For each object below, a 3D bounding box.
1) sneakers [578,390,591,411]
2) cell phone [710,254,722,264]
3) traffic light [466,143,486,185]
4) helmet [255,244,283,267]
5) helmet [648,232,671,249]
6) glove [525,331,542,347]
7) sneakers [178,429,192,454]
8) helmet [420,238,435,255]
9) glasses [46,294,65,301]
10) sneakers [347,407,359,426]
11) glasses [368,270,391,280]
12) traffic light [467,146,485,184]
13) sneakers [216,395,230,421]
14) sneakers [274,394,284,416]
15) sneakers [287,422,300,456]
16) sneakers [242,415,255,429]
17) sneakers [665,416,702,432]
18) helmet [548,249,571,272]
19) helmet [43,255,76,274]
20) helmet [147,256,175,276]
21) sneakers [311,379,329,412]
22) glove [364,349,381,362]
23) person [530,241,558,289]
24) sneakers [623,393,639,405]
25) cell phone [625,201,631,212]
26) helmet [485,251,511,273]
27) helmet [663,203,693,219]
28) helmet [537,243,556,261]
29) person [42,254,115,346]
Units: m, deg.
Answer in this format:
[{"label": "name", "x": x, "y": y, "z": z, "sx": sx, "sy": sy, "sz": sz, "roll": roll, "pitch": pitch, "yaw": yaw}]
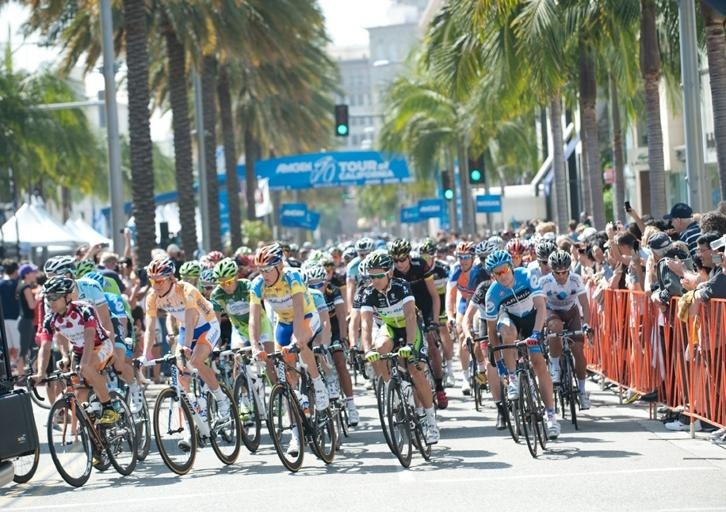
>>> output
[{"label": "sneakers", "x": 3.873, "y": 2.586, "z": 22.432, "sx": 0.150, "sy": 0.202, "sz": 0.480, "roll": -3, "pitch": -11, "yaw": 5}, {"label": "cell phone", "x": 5.536, "y": 0.055, "z": 20.002, "sx": 0.132, "sy": 0.147, "sz": 0.139, "roll": 0, "pitch": 6, "yaw": 19}, {"label": "traffic light", "x": 3.244, "y": -2.828, "z": 37.034, "sx": 0.517, "sy": 1.312, "sz": 0.678, "roll": 0, "pitch": 36, "yaw": 7}, {"label": "helmet", "x": -1.509, "y": 0.000, "z": 20.386, "sx": 0.440, "sy": 0.313, "sz": 0.369, "roll": -5, "pitch": 13, "yaw": -6}, {"label": "helmet", "x": 4.884, "y": -0.258, "z": 21.325, "sx": 0.312, "sy": 0.266, "sz": 0.544, "roll": 1, "pitch": 2, "yaw": 0}, {"label": "glove", "x": 2.702, "y": 1.330, "z": 20.165, "sx": 0.152, "sy": 0.124, "sz": 0.301, "roll": -7, "pitch": 22, "yaw": 19}, {"label": "sneakers", "x": -2.829, "y": 2.993, "z": 20.322, "sx": 0.212, "sy": 0.370, "sz": 0.146, "roll": 2, "pitch": 13, "yaw": 25}, {"label": "helmet", "x": 1.210, "y": -0.169, "z": 24.125, "sx": 0.212, "sy": 0.189, "sz": 0.260, "roll": -4, "pitch": 9, "yaw": 2}, {"label": "glasses", "x": -4.896, "y": 0.666, "z": 20.360, "sx": 0.260, "sy": 0.130, "sz": 0.129, "roll": -7, "pitch": 13, "yaw": -14}, {"label": "sneakers", "x": -0.187, "y": 2.723, "z": 21.484, "sx": 0.218, "sy": 0.319, "sz": 0.697, "roll": -1, "pitch": -7, "yaw": -3}, {"label": "glasses", "x": 0.204, "y": 0.323, "z": 20.398, "sx": 0.307, "sy": 0.134, "sz": 0.118, "roll": -4, "pitch": 13, "yaw": -2}, {"label": "traffic light", "x": 3.299, "y": -2.469, "z": 37.151, "sx": 0.437, "sy": 0.720, "sz": 1.393, "roll": -2, "pitch": 14, "yaw": 8}, {"label": "sneakers", "x": -2.269, "y": 2.508, "z": 20.855, "sx": 0.151, "sy": 0.495, "sz": 0.219, "roll": -4, "pitch": 3, "yaw": 0}, {"label": "sneakers", "x": -1.338, "y": 2.383, "z": 20.060, "sx": 0.232, "sy": 0.372, "sz": 0.083, "roll": -9, "pitch": 13, "yaw": -24}, {"label": "sneakers", "x": -1.092, "y": 2.928, "z": 20.019, "sx": 0.178, "sy": 0.492, "sz": 0.210, "roll": 3, "pitch": 13, "yaw": 26}, {"label": "sneakers", "x": -1.930, "y": 2.819, "z": 21.465, "sx": 0.164, "sy": 0.166, "sz": 0.177, "roll": -1, "pitch": 1, "yaw": 14}, {"label": "sneakers", "x": 5.287, "y": 2.813, "z": 21.137, "sx": 0.551, "sy": 0.286, "sz": 0.215, "roll": 1, "pitch": -8, "yaw": 23}, {"label": "helmet", "x": 3.355, "y": 0.098, "z": 21.819, "sx": 0.265, "sy": 0.384, "sz": 0.332, "roll": -1, "pitch": -8, "yaw": 6}, {"label": "helmet", "x": -5.040, "y": 0.134, "z": 21.356, "sx": 0.294, "sy": 0.182, "sz": 0.424, "roll": 5, "pitch": 13, "yaw": 30}, {"label": "helmet", "x": -3.317, "y": 0.200, "z": 20.901, "sx": 0.418, "sy": 0.293, "sz": 0.473, "roll": -6, "pitch": 13, "yaw": -12}, {"label": "sneakers", "x": -0.684, "y": 2.237, "z": 20.335, "sx": 0.170, "sy": 0.574, "sz": 0.218, "roll": -10, "pitch": -36, "yaw": 3}, {"label": "glove", "x": 0.150, "y": 1.603, "z": 20.079, "sx": 0.245, "sy": 0.240, "sz": 0.420, "roll": -3, "pitch": 13, "yaw": 1}, {"label": "person", "x": 3.165, "y": 0.097, "z": 22.548, "sx": 0.579, "sy": 0.843, "sz": 0.815, "roll": 1, "pitch": 6, "yaw": 6}, {"label": "sneakers", "x": 4.798, "y": 2.584, "z": 23.016, "sx": 0.119, "sy": 0.154, "sz": 0.369, "roll": -10, "pitch": -20, "yaw": -4}, {"label": "cell phone", "x": 4.899, "y": -0.923, "z": 23.706, "sx": 0.108, "sy": 0.225, "sz": 0.050, "roll": -6, "pitch": 15, "yaw": -6}, {"label": "helmet", "x": 2.152, "y": 0.059, "z": 20.378, "sx": 0.267, "sy": 0.396, "sz": 0.339, "roll": 1, "pitch": 3, "yaw": 15}, {"label": "helmet", "x": 5.703, "y": -0.803, "z": 23.318, "sx": 0.329, "sy": 0.316, "sz": 0.484, "roll": -12, "pitch": 15, "yaw": -40}, {"label": "helmet", "x": 3.166, "y": -0.066, "z": 22.158, "sx": 0.305, "sy": 0.333, "sz": 0.264, "roll": 6, "pitch": -6, "yaw": 8}, {"label": "person", "x": -4.887, "y": 1.063, "z": 22.082, "sx": 0.945, "sy": 2.505, "sz": 0.789, "roll": -3, "pitch": 41, "yaw": 1}]
